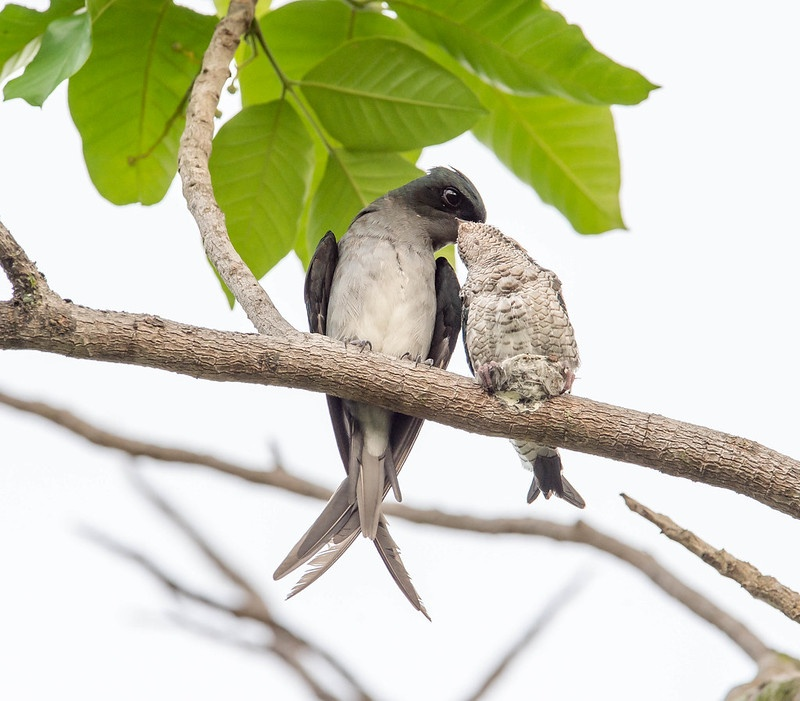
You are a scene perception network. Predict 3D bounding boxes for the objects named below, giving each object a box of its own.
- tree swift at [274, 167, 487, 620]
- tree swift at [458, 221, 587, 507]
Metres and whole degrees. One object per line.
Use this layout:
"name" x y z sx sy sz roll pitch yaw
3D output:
"tree swift" -0.047 0.014 2.967 0.379 1.206 0.408 11 -19 -29
"tree swift" 0.238 -0.007 2.486 0.240 0.650 0.523 -7 -88 0
